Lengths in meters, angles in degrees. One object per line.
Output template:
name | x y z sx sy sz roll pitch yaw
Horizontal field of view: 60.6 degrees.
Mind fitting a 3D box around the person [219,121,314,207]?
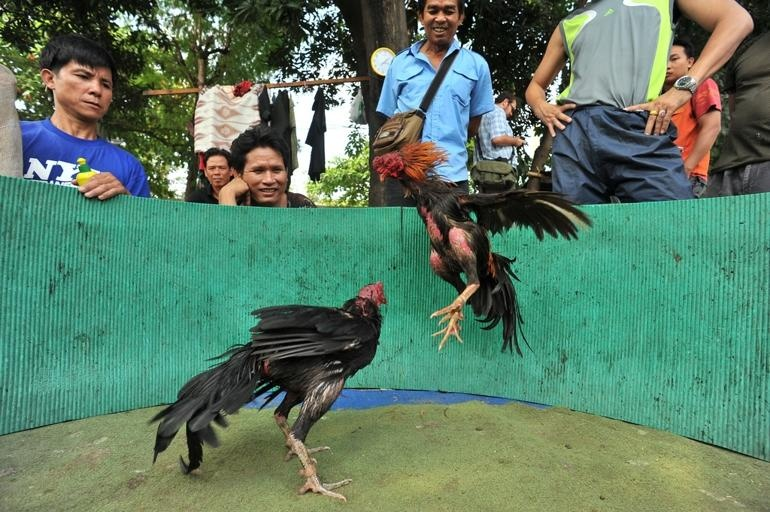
person | -1.112 -0.768 5.934 0.815 0.859 0.803 6 20 14

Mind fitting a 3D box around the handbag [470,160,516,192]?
handbag | 1.204 -0.896 7.237 0.483 0.264 0.596 8 10 16

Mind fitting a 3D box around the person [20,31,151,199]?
person | -2.357 -1.106 5.200 0.884 1.243 0.310 -3 3 -23

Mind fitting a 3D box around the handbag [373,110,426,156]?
handbag | 0.117 -1.010 5.391 0.316 0.400 0.223 1 -32 39

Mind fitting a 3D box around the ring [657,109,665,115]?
ring | 1.995 -1.053 4.801 0.042 0.018 0.031 -4 -16 21

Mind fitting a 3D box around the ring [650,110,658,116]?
ring | 1.951 -1.051 4.823 0.045 0.032 0.020 8 -10 14
